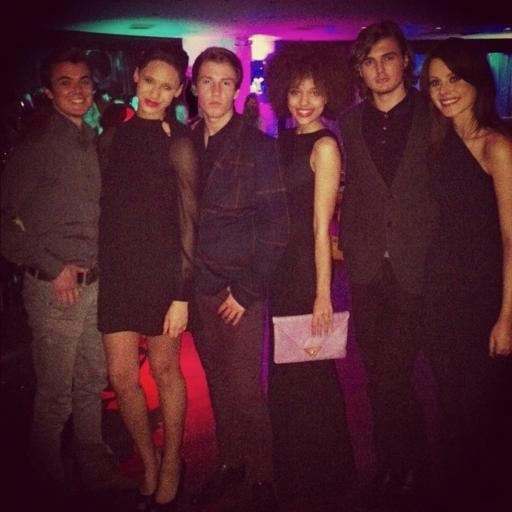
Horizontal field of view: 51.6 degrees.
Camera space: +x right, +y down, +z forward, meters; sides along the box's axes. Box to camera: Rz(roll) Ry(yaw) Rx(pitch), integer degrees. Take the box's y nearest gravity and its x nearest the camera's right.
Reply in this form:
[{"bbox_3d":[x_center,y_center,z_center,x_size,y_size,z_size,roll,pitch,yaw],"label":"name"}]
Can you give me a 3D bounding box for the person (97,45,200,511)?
[{"bbox_3d":[-0.432,0.128,2.198,0.435,1.913,0.251,-5,12,-19],"label":"person"}]
